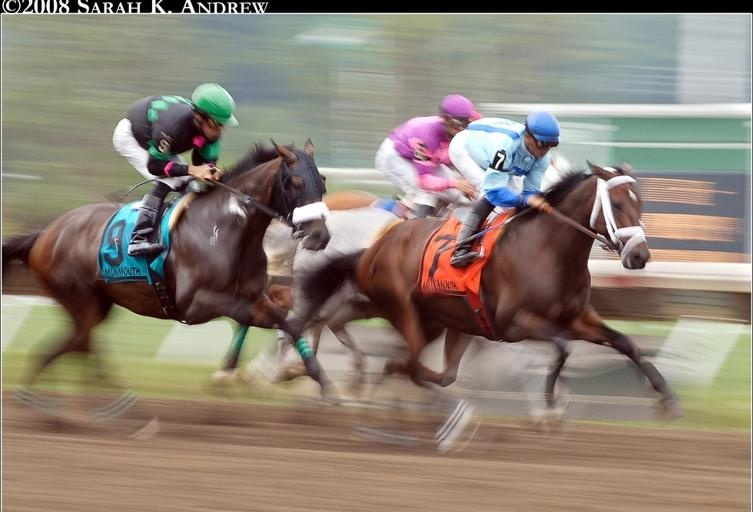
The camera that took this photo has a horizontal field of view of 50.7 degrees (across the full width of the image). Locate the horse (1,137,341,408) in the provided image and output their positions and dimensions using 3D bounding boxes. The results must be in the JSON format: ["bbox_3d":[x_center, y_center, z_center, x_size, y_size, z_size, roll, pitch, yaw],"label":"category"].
[{"bbox_3d":[-1.360,0.112,5.370,2.167,1.722,0.685,1,23,7],"label":"horse"}]

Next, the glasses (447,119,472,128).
[{"bbox_3d":[0.596,-0.960,5.750,0.146,0.059,0.173,1,-4,0],"label":"glasses"}]

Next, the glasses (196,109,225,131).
[{"bbox_3d":[-1.096,-0.885,5.228,0.176,0.123,0.120,10,28,6],"label":"glasses"}]

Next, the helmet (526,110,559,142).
[{"bbox_3d":[1.027,-0.804,5.004,0.186,0.125,0.209,21,45,-11],"label":"helmet"}]

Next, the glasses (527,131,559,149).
[{"bbox_3d":[1.036,-0.718,4.990,0.144,0.050,0.118,25,25,33],"label":"glasses"}]

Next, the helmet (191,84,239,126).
[{"bbox_3d":[-1.051,-0.981,5.214,0.339,0.170,0.238,32,28,-3],"label":"helmet"}]

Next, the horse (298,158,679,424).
[{"bbox_3d":[0.763,0.150,5.272,2.431,1.548,0.689,4,23,15],"label":"horse"}]

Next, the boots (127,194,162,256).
[{"bbox_3d":[-1.494,-0.202,5.206,0.215,0.365,0.298,1,22,9],"label":"boots"}]
